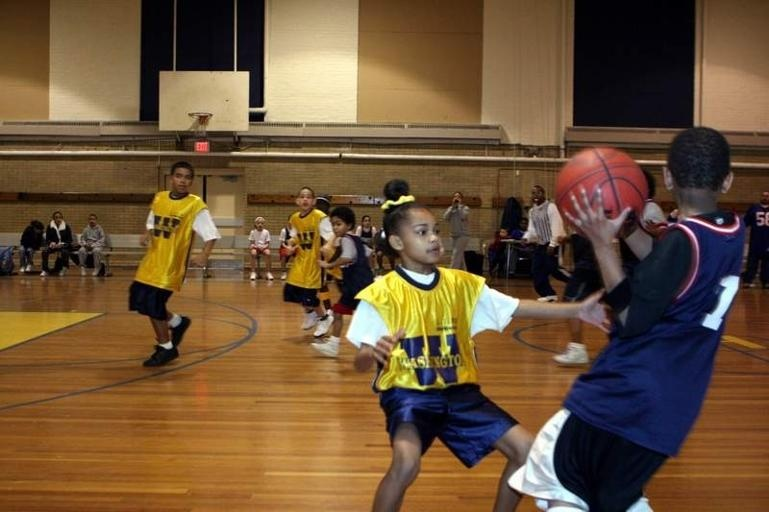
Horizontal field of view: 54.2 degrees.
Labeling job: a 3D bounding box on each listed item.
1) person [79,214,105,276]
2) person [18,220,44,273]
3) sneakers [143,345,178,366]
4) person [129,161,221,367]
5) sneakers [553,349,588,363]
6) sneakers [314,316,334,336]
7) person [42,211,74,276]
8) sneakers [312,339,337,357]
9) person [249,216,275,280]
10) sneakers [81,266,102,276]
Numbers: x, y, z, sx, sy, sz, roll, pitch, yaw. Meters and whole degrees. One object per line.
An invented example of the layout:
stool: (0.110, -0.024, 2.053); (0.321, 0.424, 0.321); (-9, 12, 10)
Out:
person: (-5.438, -0.200, 13.959); (0.505, 1.105, 0.487); (0, 4, -11)
person: (-6.556, -0.169, 13.956); (0.393, 0.989, 0.987); (-1, 4, -26)
sneakers: (-2.277, 1.041, 7.762); (0.393, 0.176, 0.152); (-7, 5, -39)
person: (-2.192, 0.065, 7.771); (0.838, 2.117, 0.584); (0, 4, -17)
sneakers: (1.958, 1.071, 7.935); (0.377, 0.165, 0.141); (2, 2, 0)
sneakers: (-0.734, 0.826, 9.044); (0.212, 0.274, 0.512); (1, 3, -5)
person: (-6.251, -0.270, 14.380); (0.550, 1.181, 1.673); (0, 4, -23)
sneakers: (-0.648, 0.980, 8.245); (0.278, 0.197, 0.303); (1, 3, -2)
person: (-2.372, -0.174, 14.528); (0.443, 1.180, 1.882); (1, 3, -9)
sneakers: (-5.542, 0.280, 14.151); (0.280, 0.097, 0.285); (3, -11, -14)
